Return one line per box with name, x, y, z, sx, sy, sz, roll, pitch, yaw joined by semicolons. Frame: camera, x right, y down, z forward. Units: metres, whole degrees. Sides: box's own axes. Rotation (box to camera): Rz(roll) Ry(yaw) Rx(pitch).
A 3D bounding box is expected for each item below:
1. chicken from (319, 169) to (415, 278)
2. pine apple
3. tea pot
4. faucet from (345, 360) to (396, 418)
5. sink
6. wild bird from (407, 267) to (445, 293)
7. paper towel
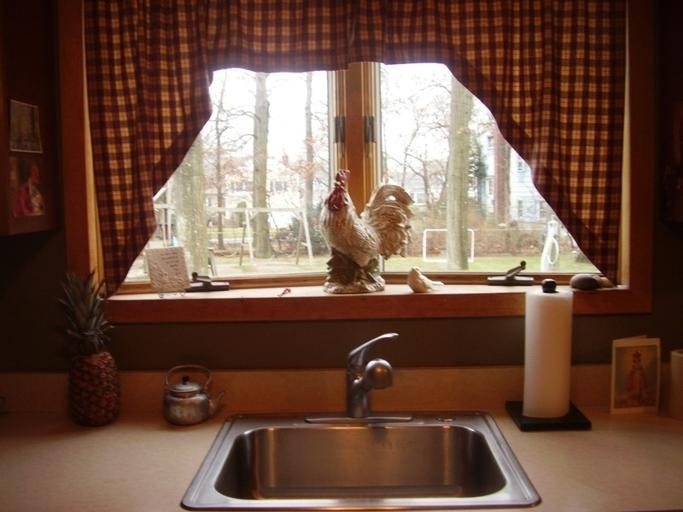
chicken;0.086;-0.112;2.118;0.382;0.354;0.223;7;-5;-32
pine apple;-0.833;0.311;2.091;0.179;0.529;0.171;-9;-3;-19
tea pot;-0.491;0.470;2.146;0.214;0.189;0.145;4;-3;-32
faucet;0.075;0.407;1.974;0.088;0.209;0.284;2;-9;-18
sink;0.054;0.658;1.880;0.956;0.215;0.477;-2;8;0
wild bird;0.291;0.084;2.242;0.126;0.090;0.076;6;-2;-10
paper towel;0.665;0.309;2.041;0.145;0.402;0.139;1;9;18
